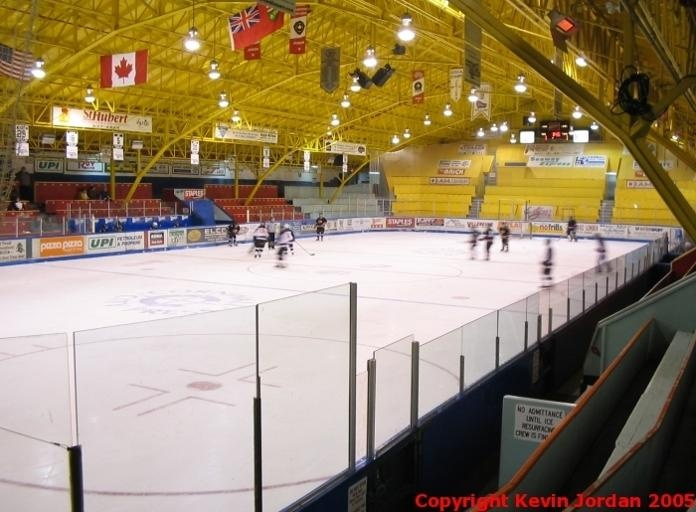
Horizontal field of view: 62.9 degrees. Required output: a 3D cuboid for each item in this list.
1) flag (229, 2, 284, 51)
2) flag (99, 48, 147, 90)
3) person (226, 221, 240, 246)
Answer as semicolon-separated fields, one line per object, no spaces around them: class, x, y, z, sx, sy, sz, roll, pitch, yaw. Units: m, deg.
flag;-2.487;-6.225;15.221;1.778;1.116;0.461;2;6;34
flag;-7.642;-6.362;19.333;2.193;1.137;0.292;2;5;30
person;-6.964;-1.276;34.507;0.781;1.310;1.825;-2;5;-11
